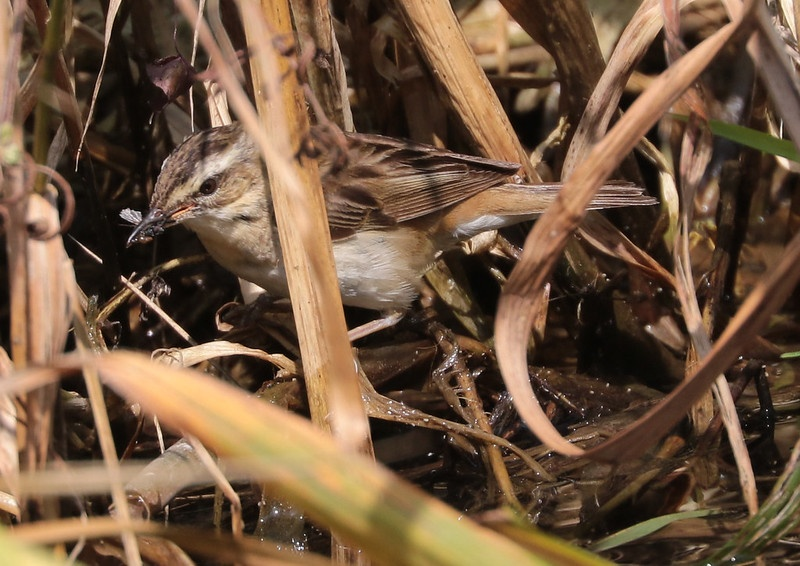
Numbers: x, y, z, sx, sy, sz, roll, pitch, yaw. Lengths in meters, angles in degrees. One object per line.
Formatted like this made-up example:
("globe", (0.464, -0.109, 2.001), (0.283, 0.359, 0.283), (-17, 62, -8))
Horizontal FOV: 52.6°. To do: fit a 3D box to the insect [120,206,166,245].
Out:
("insect", (-1.082, -0.260, 3.361), (0.188, 0.092, 0.183), (-39, -14, 25))
